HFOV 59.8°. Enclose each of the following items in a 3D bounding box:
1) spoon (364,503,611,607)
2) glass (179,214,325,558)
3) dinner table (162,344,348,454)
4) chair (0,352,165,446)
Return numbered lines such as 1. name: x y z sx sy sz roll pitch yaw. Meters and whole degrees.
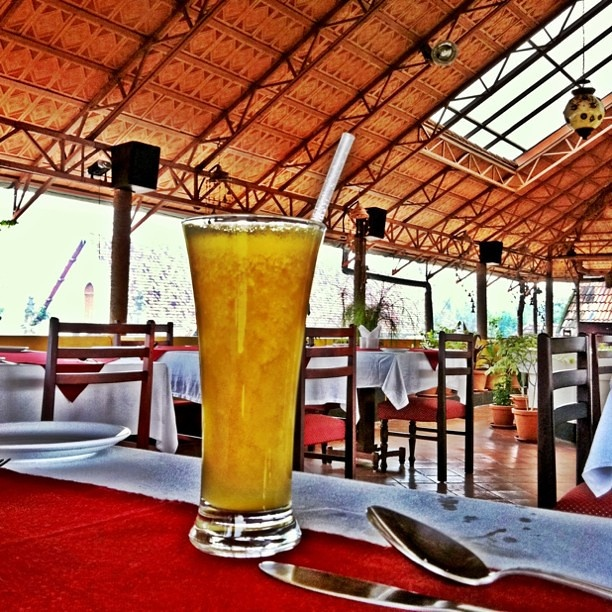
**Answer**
1. spoon: 0.102 0.161 0.355 0.167 0.024 0.038 9 -3 37
2. glass: -0.039 0.051 0.381 0.108 0.234 0.065 4 -5 -12
3. dinner table: -0.014 0.539 3.229 1.028 0.343 1.019 -4 -8 40
4. chair: -0.843 0.380 2.069 0.568 0.241 0.432 1 2 -21
